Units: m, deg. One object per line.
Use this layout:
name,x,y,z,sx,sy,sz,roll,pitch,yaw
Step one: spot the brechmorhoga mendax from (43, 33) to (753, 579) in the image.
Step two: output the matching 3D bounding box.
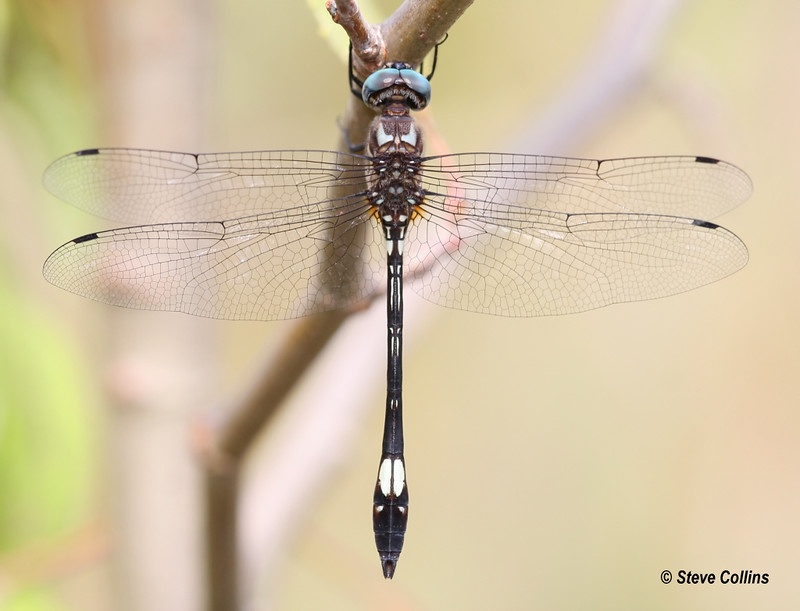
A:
brechmorhoga mendax,-0.017,0.034,2.348,1.689,0.622,1.101,2,-68,21
